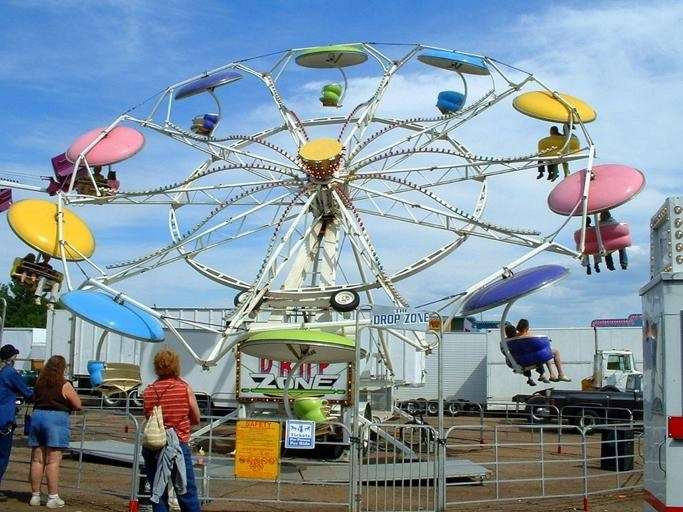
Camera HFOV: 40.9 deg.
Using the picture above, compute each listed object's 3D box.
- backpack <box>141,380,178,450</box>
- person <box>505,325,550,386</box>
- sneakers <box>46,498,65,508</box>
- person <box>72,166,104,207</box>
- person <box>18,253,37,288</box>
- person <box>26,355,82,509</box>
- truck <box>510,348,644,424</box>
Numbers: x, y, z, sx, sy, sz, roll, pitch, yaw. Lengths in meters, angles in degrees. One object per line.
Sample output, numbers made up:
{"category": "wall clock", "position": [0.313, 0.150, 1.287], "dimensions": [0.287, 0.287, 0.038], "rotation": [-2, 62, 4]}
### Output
{"category": "backpack", "position": [-3.060, 2.847, 15.283], "dimensions": [0.520, 0.774, 0.229], "rotation": [4, -13, -8]}
{"category": "person", "position": [4.873, 2.512, 23.225], "dimensions": [1.113, 1.385, 0.989], "rotation": [-15, 5, -24]}
{"category": "sneakers", "position": [-5.299, 4.574, 16.945], "dimensions": [0.407, 0.157, 0.176], "rotation": [0, 1, -18]}
{"category": "person", "position": [-7.179, -2.070, 26.267], "dimensions": [0.947, 1.046, 1.312], "rotation": [5, -11, -15]}
{"category": "person", "position": [-8.104, 0.371, 23.738], "dimensions": [0.429, 0.859, 0.575], "rotation": [7, -13, -20]}
{"category": "person", "position": [-5.396, 3.271, 17.060], "dimensions": [0.847, 2.811, 0.951], "rotation": [6, -14, -15]}
{"category": "truck", "position": [8.863, 4.764, 31.999], "dimensions": [5.585, 1.864, 3.290], "rotation": [-3, -7, 7]}
